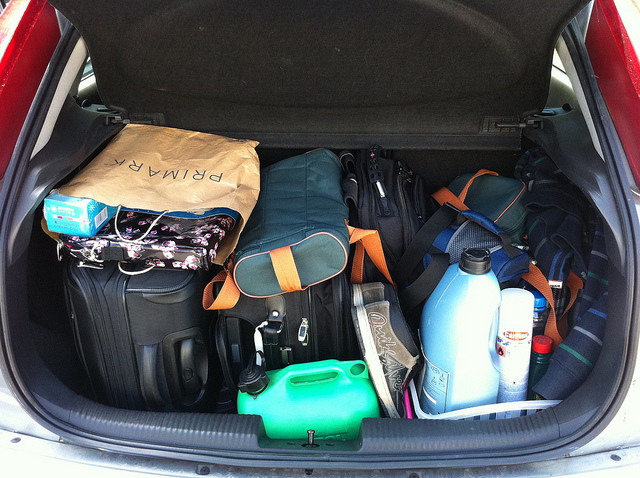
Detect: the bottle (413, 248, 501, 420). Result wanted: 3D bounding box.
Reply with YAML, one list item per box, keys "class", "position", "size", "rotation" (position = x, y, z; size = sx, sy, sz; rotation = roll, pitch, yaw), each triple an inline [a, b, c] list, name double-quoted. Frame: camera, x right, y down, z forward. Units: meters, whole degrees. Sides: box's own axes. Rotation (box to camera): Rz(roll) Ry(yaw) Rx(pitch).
- class: "bottle"
  position: [0.377, 0.268, 1.365]
  size: [0.203, 0.520, 0.171]
  rotation: [-4, 25, -5]

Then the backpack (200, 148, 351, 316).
- class: "backpack"
  position: [-0.128, 0.050, 1.520]
  size: [0.404, 0.170, 0.497]
  rotation: [-14, 10, 4]

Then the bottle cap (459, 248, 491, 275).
- class: "bottle cap"
  position: [0.414, 0.055, 1.344]
  size: [0.069, 0.043, 0.070]
  rotation: [22, 39, 30]

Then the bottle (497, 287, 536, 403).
- class: "bottle"
  position: [0.537, 0.297, 1.392]
  size: [0.092, 0.270, 0.175]
  rotation: [5, 31, 14]

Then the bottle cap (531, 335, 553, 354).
- class: "bottle cap"
  position: [0.616, 0.293, 1.386]
  size: [0.046, 0.027, 0.047]
  rotation: [0, 20, -10]

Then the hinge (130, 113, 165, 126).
- class: "hinge"
  position: [-0.619, -0.433, 1.786]
  size: [0.087, 0.023, 0.053]
  rotation: [1, -11, -10]

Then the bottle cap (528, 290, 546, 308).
- class: "bottle cap"
  position: [0.626, 0.172, 1.431]
  size: [0.044, 0.026, 0.045]
  rotation: [1, 25, 10]

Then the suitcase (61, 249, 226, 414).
- class: "suitcase"
  position: [-0.496, 0.310, 1.483]
  size: [0.422, 0.566, 0.223]
  rotation: [-10, 31, -12]
